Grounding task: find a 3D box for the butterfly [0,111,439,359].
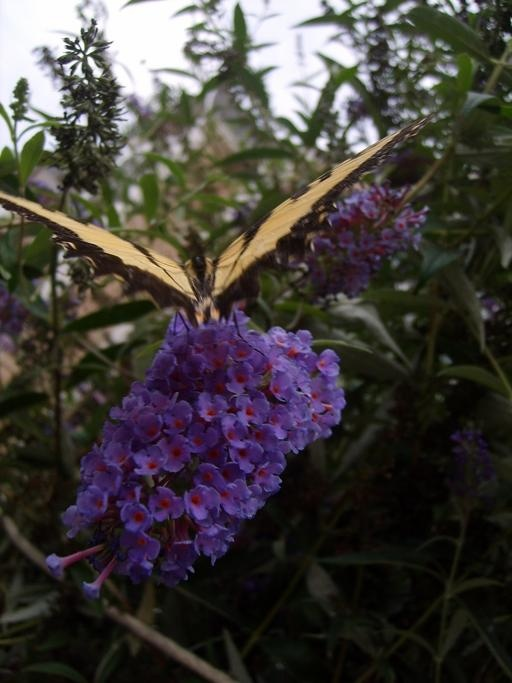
[{"bbox_3d":[-0.028,-0.140,0.960,0.555,0.262,0.218,-13,-5,-12],"label":"butterfly"}]
